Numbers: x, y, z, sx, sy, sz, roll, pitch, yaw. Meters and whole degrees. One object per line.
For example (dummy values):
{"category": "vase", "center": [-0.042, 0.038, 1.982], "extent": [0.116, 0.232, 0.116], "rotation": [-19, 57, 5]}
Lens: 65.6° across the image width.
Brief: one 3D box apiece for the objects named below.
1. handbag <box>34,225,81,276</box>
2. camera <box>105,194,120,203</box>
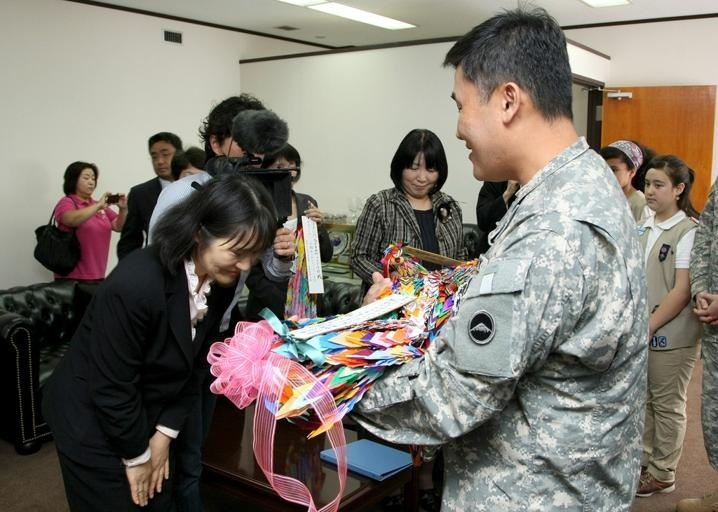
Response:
{"category": "handbag", "center": [-2.592, -0.074, 4.790], "extent": [0.323, 0.469, 0.285], "rotation": [0, 16, -24]}
{"category": "camera", "center": [-2.065, -0.485, 4.659], "extent": [0.077, 0.021, 0.085], "rotation": [-5, -9, 9]}
